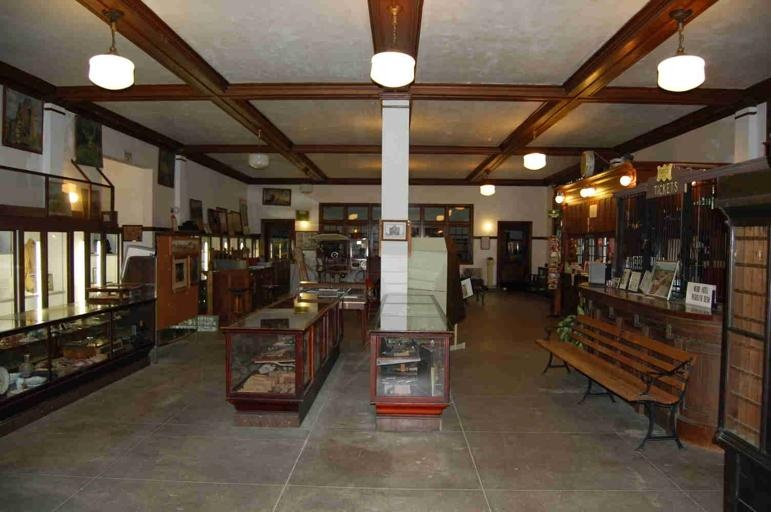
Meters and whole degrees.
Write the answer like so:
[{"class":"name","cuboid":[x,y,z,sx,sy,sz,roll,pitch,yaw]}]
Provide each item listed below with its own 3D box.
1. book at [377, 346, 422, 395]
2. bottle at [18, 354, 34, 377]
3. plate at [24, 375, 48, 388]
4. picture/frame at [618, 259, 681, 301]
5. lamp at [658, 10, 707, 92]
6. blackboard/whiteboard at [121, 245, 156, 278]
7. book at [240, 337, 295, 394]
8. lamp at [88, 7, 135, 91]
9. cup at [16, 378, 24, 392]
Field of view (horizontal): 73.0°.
[{"class":"book","cuboid":[0.165,1.467,6.906,0.733,0.636,0.571,0,-6,3]},{"class":"bottle","cuboid":[-4.707,1.453,6.838,0.018,0.325,0.153,-2,1,30]},{"class":"plate","cuboid":[-4.622,1.667,6.898,0.063,0.172,0.269,-2,1,29]},{"class":"picture/frame","cuboid":[3.934,0.349,7.778,0.397,0.525,1.064,-3,0,-6]},{"class":"lamp","cuboid":[3.769,-2.654,6.650,0.538,0.801,0.503,-7,7,-22]},{"class":"blackboard/whiteboard","cuboid":[-4.605,0.037,9.658,0.679,0.590,0.169,2,-23,-30]},{"class":"book","cuboid":[-1.532,1.432,6.822,0.731,0.594,0.217,-2,1,-1]},{"class":"lamp","cuboid":[-3.632,-2.568,6.949,0.482,0.938,1.242,-3,1,-25]},{"class":"cup","cuboid":[-4.727,1.674,6.761,0.039,0.184,0.084,-2,1,28]}]
